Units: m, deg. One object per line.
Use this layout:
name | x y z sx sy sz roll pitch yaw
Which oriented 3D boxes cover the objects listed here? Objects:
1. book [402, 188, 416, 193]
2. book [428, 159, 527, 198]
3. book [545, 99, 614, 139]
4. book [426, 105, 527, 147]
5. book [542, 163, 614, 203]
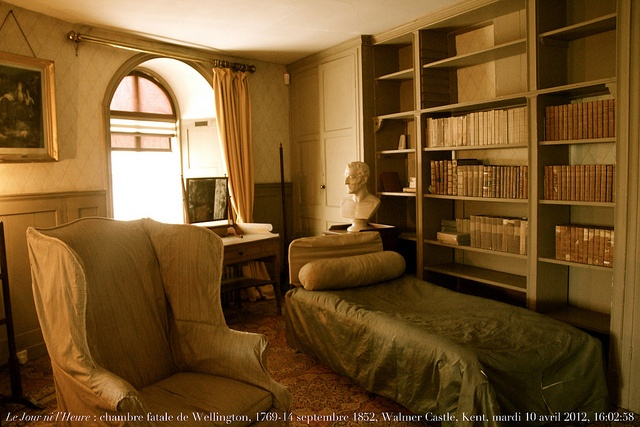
book | 0.967 -0.248 5.062 0.092 0.051 0.257 -3 7 -11
book | 1.484 -0.334 4.512 0.219 0.355 1.029 -6 8 -31
book | 2.149 -0.751 3.829 0.303 0.206 0.449 -9 9 -41
book | 1.484 -0.808 4.498 0.060 0.313 0.998 -8 10 -43
book | 2.128 -0.247 3.856 0.521 0.293 0.040 5 10 43
